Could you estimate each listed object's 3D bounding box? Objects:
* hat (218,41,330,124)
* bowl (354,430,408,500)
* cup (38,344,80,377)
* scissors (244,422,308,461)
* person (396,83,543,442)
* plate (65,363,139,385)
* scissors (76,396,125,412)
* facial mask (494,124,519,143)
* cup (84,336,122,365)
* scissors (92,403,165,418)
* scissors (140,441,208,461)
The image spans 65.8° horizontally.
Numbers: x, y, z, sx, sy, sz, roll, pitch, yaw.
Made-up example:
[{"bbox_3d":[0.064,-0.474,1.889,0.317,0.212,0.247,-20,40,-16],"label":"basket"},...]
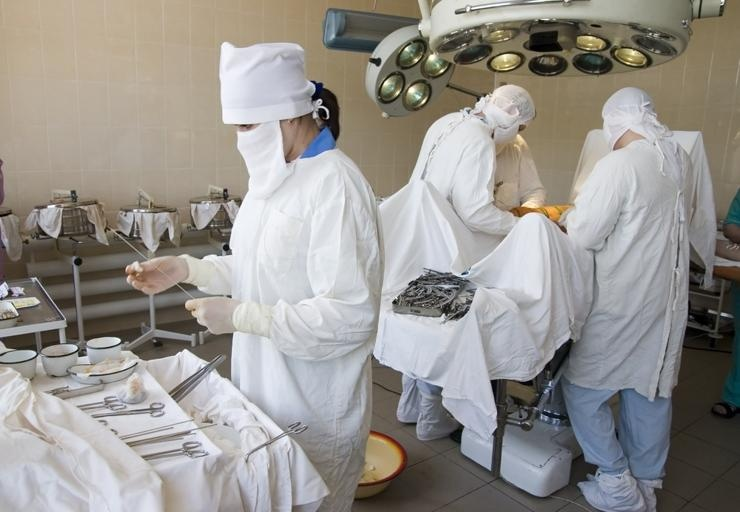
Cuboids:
[{"bbox_3d":[-0.334,-0.606,1.972,0.314,0.256,0.230,-11,21,-17],"label":"hat"},{"bbox_3d":[0.060,1.177,3.207,0.333,0.141,0.344,1,15,0],"label":"bowl"},{"bbox_3d":[-1.232,0.412,2.289,0.122,0.100,0.131,0,5,0],"label":"cup"},{"bbox_3d":[-0.326,0.636,1.948,0.227,0.030,0.047,-26,41,-29],"label":"scissors"},{"bbox_3d":[0.607,0.055,3.621,1.087,2.091,0.697,-17,23,-34],"label":"person"},{"bbox_3d":[-1.040,0.465,2.217,0.132,0.030,0.123,1,6,3],"label":"plate"},{"bbox_3d":[-0.968,0.545,2.080,0.177,0.015,0.059,-7,14,-15],"label":"scissors"},{"bbox_3d":[0.840,-0.756,3.526,0.116,0.102,0.100,9,22,26],"label":"facial mask"},{"bbox_3d":[-1.099,0.383,2.372,0.106,0.090,0.117,0,2,0],"label":"cup"},{"bbox_3d":[-0.849,0.558,2.036,0.239,0.011,0.081,-3,7,-17],"label":"scissors"},{"bbox_3d":[-0.625,0.640,1.857,0.209,0.019,0.074,-5,16,-14],"label":"scissors"}]
